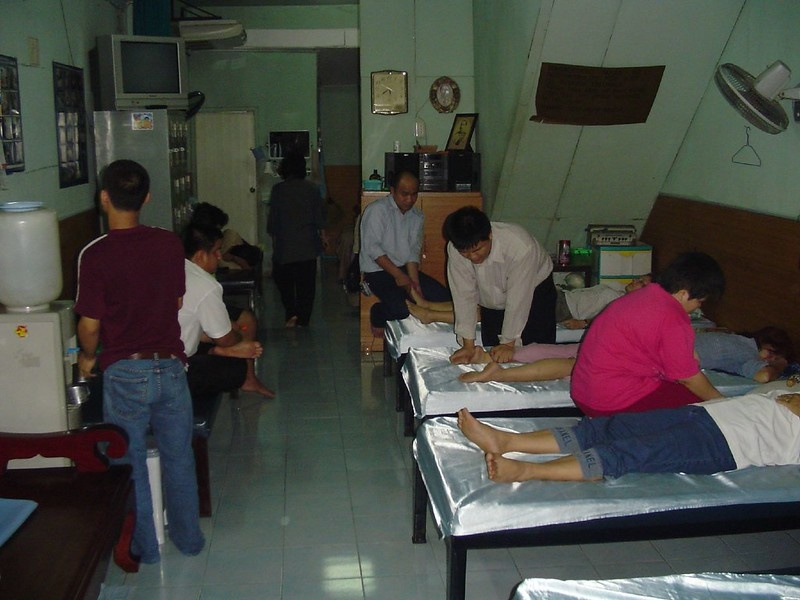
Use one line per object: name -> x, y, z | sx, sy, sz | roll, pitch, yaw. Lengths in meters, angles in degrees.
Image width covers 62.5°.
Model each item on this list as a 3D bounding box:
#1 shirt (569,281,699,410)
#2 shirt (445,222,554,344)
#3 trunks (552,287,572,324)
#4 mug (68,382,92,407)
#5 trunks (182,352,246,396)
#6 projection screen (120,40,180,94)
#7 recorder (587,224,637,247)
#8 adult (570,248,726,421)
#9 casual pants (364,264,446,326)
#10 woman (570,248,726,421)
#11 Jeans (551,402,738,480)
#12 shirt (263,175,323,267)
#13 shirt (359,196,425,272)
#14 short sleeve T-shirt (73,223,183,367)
shirt -> 1.217, 0.200, 3.334 | 0.716, 0.670, 0.590 | -2, 24, 14
shirt -> 0.640, -0.089, 4.266 | 0.497, 0.709, 0.588 | 23, 54, 33
trunks -> 1.268, 0.048, 5.155 | 0.196, 0.243, 0.082 | 0, 7, 15
mug -> -1.482, 0.441, 3.091 | 0.097, 0.070, 0.094 | -6, 10, -9
trunks -> -1.103, 0.460, 4.022 | 0.320, 0.101, 0.186 | -1, 8, -24
projection screen -> -2.432, -2.299, 6.495 | 0.198, 0.482, 0.634 | 16, 25, 29
recorder -> 2.034, -0.615, 6.378 | 0.439, 0.224, 0.277 | 2, 22, -1
adult -> 1.284, 0.157, 3.314 | 0.770, 0.838, 0.610 | 2, 25, -8
casual pants -> -0.030, -0.024, 5.890 | 0.562, 0.151, 0.552 | -29, -1, -33
woman -> 1.302, 0.151, 3.352 | 0.810, 0.833, 0.663 | 6, 24, 2
Jeans -> 1.107, 0.635, 2.986 | 0.617, 0.196, 0.339 | -1, 43, -6
shirt -> -1.154, -0.895, 7.208 | 0.629, 0.844, 0.460 | -8, 13, -31
shirt -> -0.058, -0.565, 5.850 | 0.602, 0.626, 0.472 | 4, 9, -38
short sleeve T-shirt -> -1.199, -0.004, 2.950 | 0.547, 0.627, 0.281 | -12, 31, -34
